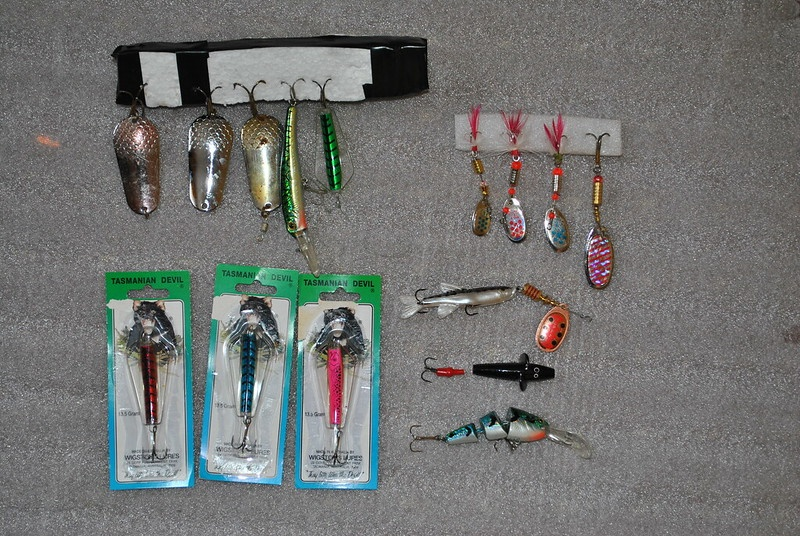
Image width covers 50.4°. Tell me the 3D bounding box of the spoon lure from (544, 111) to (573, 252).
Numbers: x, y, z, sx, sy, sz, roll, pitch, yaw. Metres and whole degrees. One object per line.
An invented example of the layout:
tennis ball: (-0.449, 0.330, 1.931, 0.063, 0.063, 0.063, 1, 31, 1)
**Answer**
spoon lure: (0.604, -0.326, 3.365, 0.122, 0.497, 0.110, 0, -2, -15)

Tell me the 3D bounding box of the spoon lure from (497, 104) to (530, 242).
spoon lure: (0.430, -0.353, 3.309, 0.117, 0.472, 0.111, -2, 2, -15)

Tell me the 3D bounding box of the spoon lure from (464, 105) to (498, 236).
spoon lure: (0.311, -0.378, 3.250, 0.111, 0.462, 0.119, -2, 1, 27)

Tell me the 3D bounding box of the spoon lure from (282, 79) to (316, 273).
spoon lure: (-0.392, -0.347, 3.246, 0.106, 0.749, 0.136, -3, 6, -31)

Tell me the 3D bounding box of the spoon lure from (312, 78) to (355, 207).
spoon lure: (-0.259, -0.465, 3.236, 0.138, 0.506, 0.058, -7, 2, -1)
